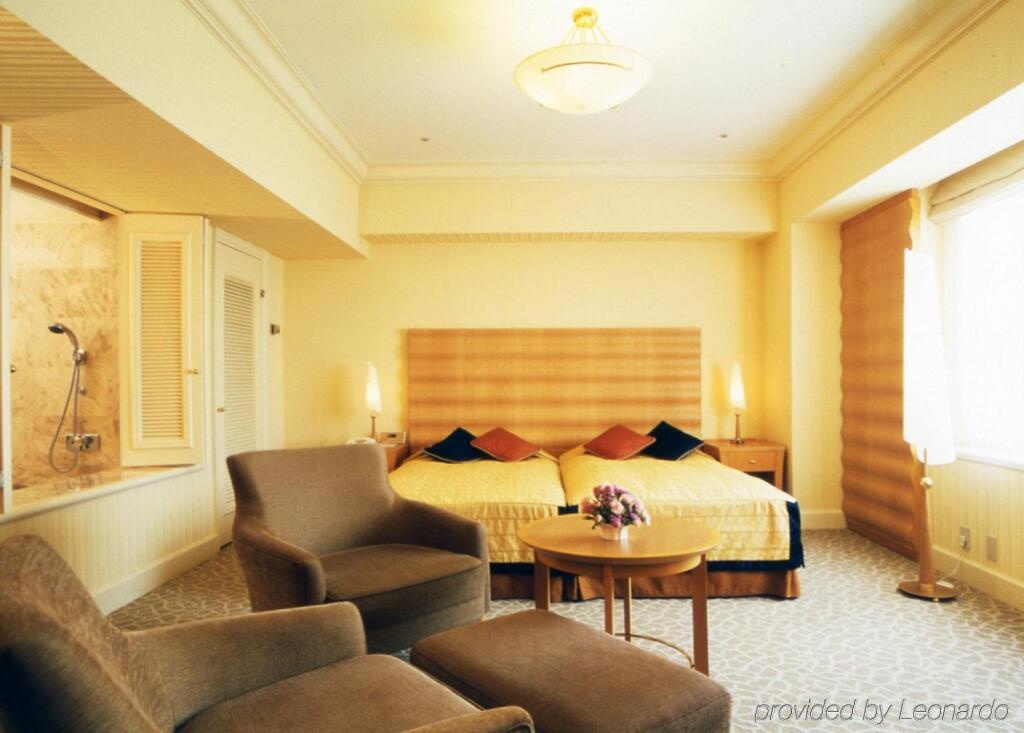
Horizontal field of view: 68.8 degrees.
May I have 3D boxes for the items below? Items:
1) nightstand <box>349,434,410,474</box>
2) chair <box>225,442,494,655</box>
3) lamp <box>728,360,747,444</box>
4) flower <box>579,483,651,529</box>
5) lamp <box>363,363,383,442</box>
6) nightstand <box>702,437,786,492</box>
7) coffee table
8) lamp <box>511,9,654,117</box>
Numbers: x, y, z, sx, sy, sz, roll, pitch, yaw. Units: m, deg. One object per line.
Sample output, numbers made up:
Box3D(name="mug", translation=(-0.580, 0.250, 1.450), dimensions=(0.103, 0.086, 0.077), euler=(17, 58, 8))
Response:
Box3D(name="nightstand", translation=(-1.124, 0.693, 6.374), dimensions=(0.452, 0.423, 0.457), euler=(0, 0, 0))
Box3D(name="chair", translation=(-0.921, 0.968, 4.139), dimensions=(1.088, 1.065, 1.292), euler=(-12, -11, 43))
Box3D(name="lamp", translation=(1.917, 0.320, 6.409), dimensions=(0.160, 0.695, 0.593), euler=(3, 14, 17))
Box3D(name="flower", translation=(0.518, 0.726, 3.905), dimensions=(0.259, 0.159, 0.257), euler=(2, -1, 1))
Box3D(name="lamp", translation=(-1.221, 0.314, 6.589), dimensions=(0.145, 0.677, 0.361), euler=(-3, 14, -11))
Box3D(name="nightstand", translation=(1.922, 0.765, 6.183), dimensions=(0.475, 0.448, 0.469), euler=(-1, 6, -5))
Box3D(name="coffee table", translation=(0.566, 1.004, 4.003), dimensions=(0.939, 0.932, 0.852), euler=(-1, -3, -16))
Box3D(name="lamp", translation=(0.378, -1.766, 4.195), dimensions=(0.623, 0.391, 0.620), euler=(0, -8, 3))
